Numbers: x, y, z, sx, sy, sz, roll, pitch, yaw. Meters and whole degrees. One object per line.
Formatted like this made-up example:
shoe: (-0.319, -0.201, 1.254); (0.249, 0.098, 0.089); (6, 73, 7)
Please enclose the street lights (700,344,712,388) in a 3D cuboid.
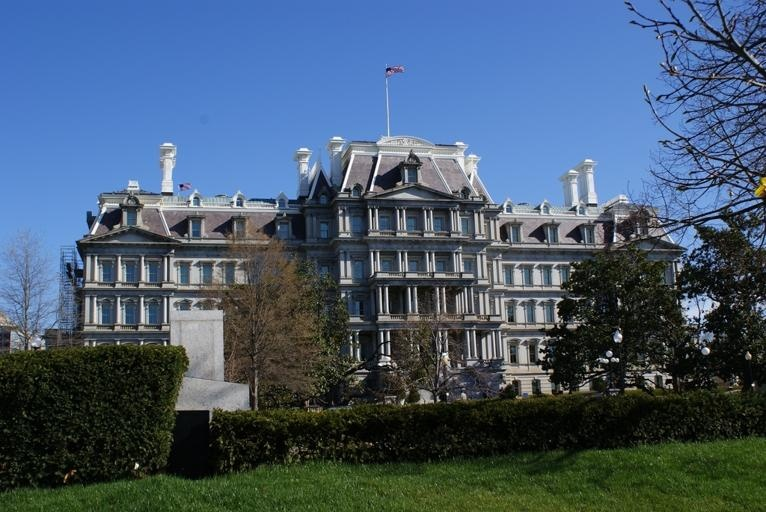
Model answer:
street lights: (15.203, 5.035, 57.139); (0.736, 1.617, 0.685); (-4, 10, 9)
